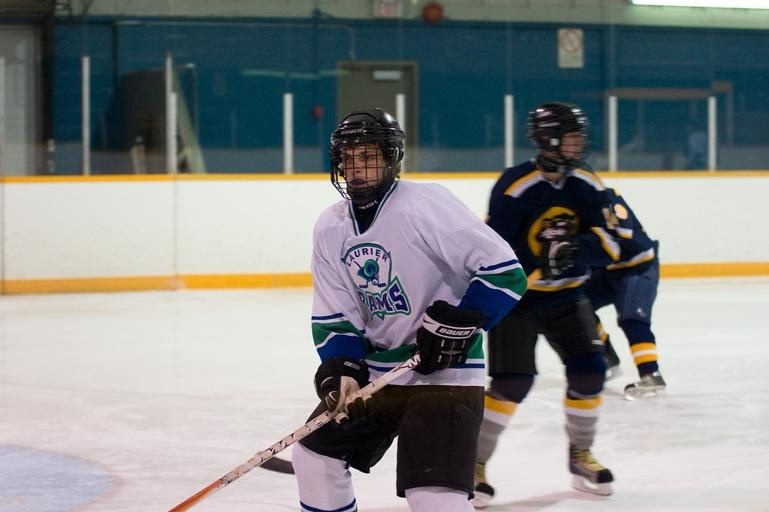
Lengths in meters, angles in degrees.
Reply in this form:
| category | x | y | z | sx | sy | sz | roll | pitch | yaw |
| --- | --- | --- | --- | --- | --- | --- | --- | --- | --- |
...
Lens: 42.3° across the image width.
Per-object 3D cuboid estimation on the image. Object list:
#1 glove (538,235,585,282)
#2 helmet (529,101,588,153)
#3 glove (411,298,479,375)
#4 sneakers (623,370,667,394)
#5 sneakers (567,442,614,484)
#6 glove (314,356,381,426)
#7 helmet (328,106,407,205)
| category | x | y | z | sx | sy | sz | roll | pitch | yaw |
| --- | --- | --- | --- | --- | --- | --- | --- | --- | --- |
| glove | 0.960 | -0.020 | 5.227 | 0.164 | 0.110 | 0.133 | 5 | 51 | 5 |
| helmet | 0.922 | -0.707 | 5.407 | 0.351 | 0.240 | 0.285 | -1 | 15 | 22 |
| glove | 0.307 | 0.378 | 4.475 | 0.257 | 0.272 | 0.243 | 15 | 16 | 42 |
| sneakers | 1.640 | 0.809 | 6.221 | 0.275 | 0.110 | 0.151 | -10 | 43 | 24 |
| sneakers | 1.069 | 1.081 | 5.184 | 0.233 | 0.174 | 0.097 | 4 | 8 | 44 |
| glove | -0.197 | 0.582 | 4.469 | 0.285 | 0.114 | 0.269 | -33 | 35 | -16 |
| helmet | -0.085 | -0.510 | 4.691 | 0.351 | 0.348 | 0.408 | -2 | 5 | 23 |
